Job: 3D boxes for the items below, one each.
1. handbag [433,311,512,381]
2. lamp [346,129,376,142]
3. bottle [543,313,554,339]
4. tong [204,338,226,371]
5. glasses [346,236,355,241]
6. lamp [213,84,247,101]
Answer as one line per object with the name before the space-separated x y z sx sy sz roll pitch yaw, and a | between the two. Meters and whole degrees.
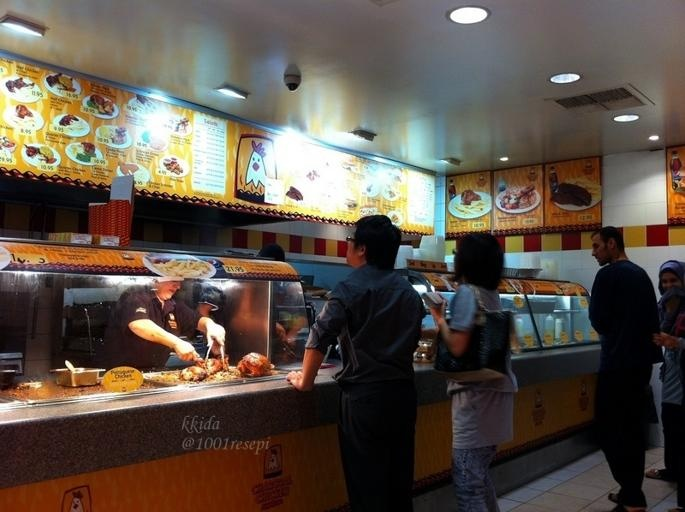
handbag | 0.712 0.463 2.721 0.369 0.359 0.247 11 -3 -44
lamp | 0.238 -1.259 5.457 0.424 0.067 0.261 0 2 -40
bottle | 1.869 0.650 4.718 0.071 0.183 0.292 2 1 30
tong | -0.654 0.509 2.676 0.099 0.131 0.045 5 -25 -18
glasses | 0.038 -0.089 2.592 0.038 0.012 0.038 3 -3 8
lamp | -0.954 -1.426 4.549 0.192 0.045 0.308 2 2 40
